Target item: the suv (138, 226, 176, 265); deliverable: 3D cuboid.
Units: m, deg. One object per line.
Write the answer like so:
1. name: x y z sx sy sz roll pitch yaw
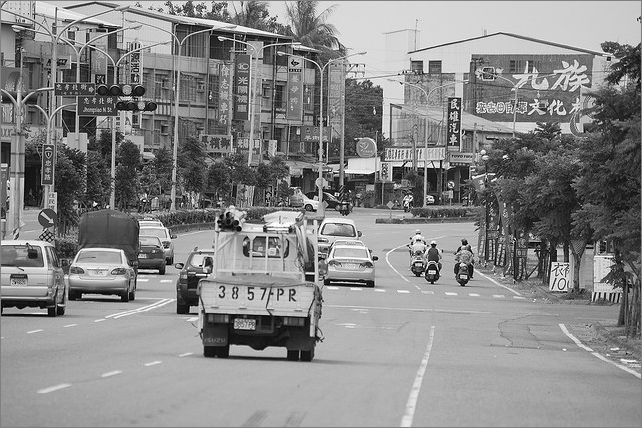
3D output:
1. suv: -9.155 1.623 51.113 1.739 1.974 3.467 1 -1 -6

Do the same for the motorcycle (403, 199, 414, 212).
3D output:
1. motorcycle: 8.828 -0.831 103.578 1.104 1.068 1.892 -4 -6 4

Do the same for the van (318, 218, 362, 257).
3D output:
1. van: 0.663 1.145 52.011 1.481 1.452 3.492 1 1 2

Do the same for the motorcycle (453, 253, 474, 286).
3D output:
1. motorcycle: 6.756 2.585 48.128 0.771 1.715 1.319 1 0 3

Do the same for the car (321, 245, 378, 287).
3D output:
1. car: 1.316 2.030 46.256 2.290 1.756 5.243 3 7 0

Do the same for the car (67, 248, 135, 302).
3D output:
1. car: -7.641 2.075 35.284 1.704 1.498 4.396 0 0 -15
